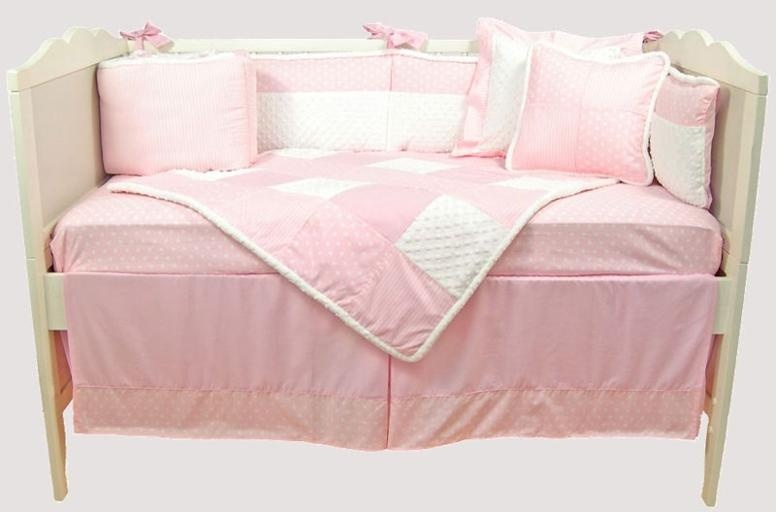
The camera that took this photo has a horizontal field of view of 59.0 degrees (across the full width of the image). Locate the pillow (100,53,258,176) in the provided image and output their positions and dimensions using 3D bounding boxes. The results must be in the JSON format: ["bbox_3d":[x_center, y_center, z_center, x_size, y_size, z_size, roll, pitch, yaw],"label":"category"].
[{"bbox_3d":[-0.859,-0.573,2.981,0.802,0.662,0.448,-2,10,-6],"label":"pillow"}]
